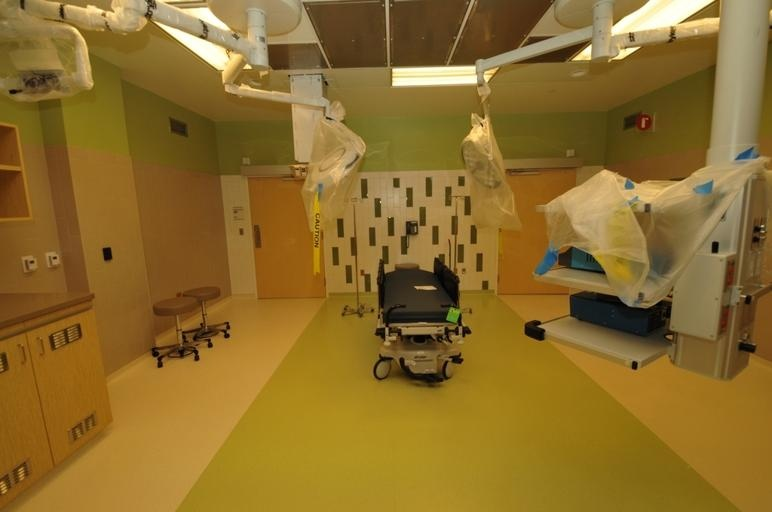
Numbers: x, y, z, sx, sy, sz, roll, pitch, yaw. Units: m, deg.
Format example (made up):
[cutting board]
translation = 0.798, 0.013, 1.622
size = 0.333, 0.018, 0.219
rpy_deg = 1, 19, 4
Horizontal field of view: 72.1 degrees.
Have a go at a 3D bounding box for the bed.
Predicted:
[bed]
translation = 0.349, 0.445, 6.315
size = 0.859, 0.612, 2.057
rpy_deg = 0, 8, 1

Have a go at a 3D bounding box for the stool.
[stool]
translation = -2.369, 0.804, 6.456
size = 0.832, 0.747, 1.170
rpy_deg = -3, 8, -7

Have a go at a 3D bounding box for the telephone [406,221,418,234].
[telephone]
translation = 0.393, -0.409, 7.996
size = 0.175, 0.216, 0.132
rpy_deg = -2, 8, 1
